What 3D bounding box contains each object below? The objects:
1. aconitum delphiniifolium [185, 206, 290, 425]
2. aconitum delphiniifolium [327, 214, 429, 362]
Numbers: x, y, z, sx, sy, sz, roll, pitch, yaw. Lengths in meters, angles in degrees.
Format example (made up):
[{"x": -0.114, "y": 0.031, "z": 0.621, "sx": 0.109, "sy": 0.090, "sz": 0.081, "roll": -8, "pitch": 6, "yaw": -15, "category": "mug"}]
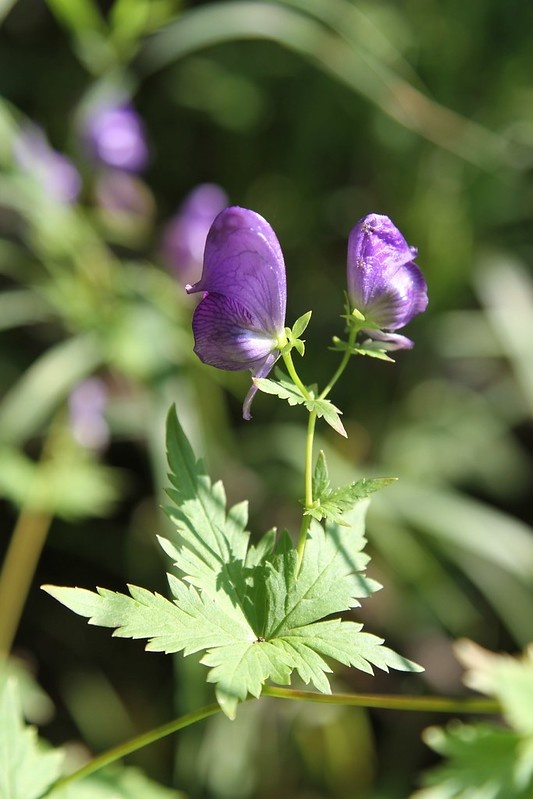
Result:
[{"x": -0.018, "y": -0.111, "z": 0.934, "sx": 0.113, "sy": 0.232, "sz": 0.177, "roll": -18, "pitch": 35, "yaw": -4, "category": "aconitum delphiniifolium"}, {"x": 0.123, "y": -0.162, "z": 0.953, "sx": 0.135, "sy": 0.126, "sz": 0.175, "roll": -8, "pitch": 86, "yaw": 37, "category": "aconitum delphiniifolium"}]
